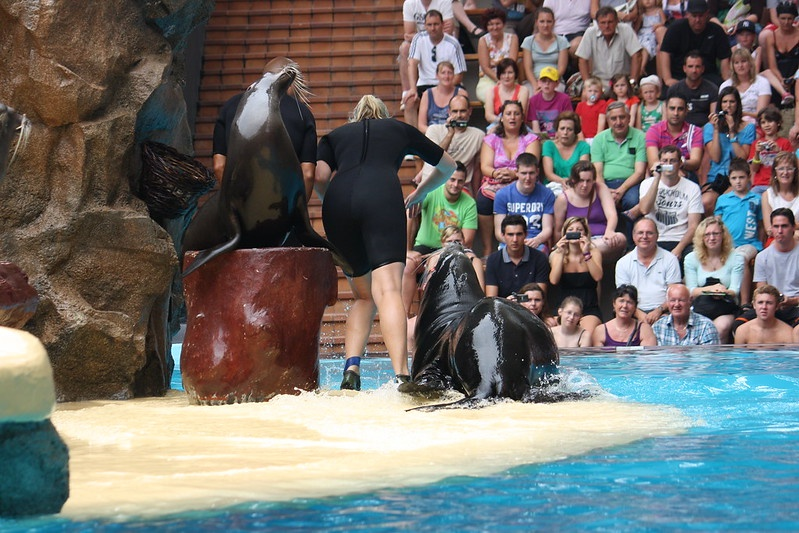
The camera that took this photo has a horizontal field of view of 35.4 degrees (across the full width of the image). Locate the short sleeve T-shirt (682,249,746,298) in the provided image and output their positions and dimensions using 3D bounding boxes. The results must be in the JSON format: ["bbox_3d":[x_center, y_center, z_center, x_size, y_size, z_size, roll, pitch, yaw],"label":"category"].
[{"bbox_3d":[3.187,0.076,12.687,0.600,0.427,0.429,4,14,12],"label":"short sleeve T-shirt"}]

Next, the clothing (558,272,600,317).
[{"bbox_3d":[1.830,0.278,13.070,0.488,0.632,0.408,-1,-7,-4],"label":"clothing"}]

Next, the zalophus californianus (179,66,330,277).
[{"bbox_3d":[-1.011,-0.760,9.016,0.933,1.272,0.542,-5,14,-20],"label":"zalophus californianus"}]

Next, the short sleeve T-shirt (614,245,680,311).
[{"bbox_3d":[2.577,0.114,12.903,0.637,0.668,0.369,-1,3,28],"label":"short sleeve T-shirt"}]
